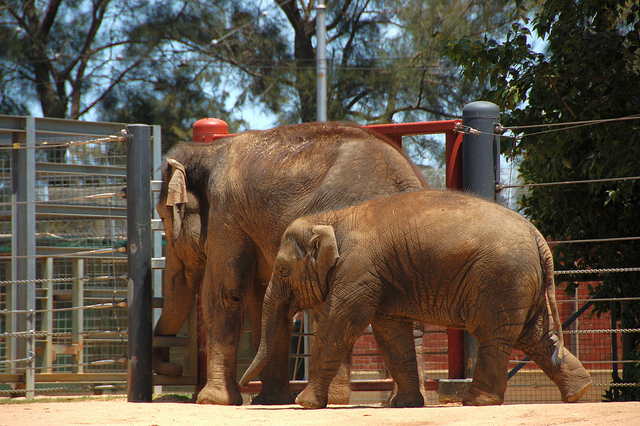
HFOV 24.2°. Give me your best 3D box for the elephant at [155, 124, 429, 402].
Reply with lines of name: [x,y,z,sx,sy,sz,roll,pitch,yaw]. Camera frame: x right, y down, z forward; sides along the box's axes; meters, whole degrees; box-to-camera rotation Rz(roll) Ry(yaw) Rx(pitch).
elephant: [-0.495,0.764,19.047,4.494,3.534,2.141,-4,-2,37]
